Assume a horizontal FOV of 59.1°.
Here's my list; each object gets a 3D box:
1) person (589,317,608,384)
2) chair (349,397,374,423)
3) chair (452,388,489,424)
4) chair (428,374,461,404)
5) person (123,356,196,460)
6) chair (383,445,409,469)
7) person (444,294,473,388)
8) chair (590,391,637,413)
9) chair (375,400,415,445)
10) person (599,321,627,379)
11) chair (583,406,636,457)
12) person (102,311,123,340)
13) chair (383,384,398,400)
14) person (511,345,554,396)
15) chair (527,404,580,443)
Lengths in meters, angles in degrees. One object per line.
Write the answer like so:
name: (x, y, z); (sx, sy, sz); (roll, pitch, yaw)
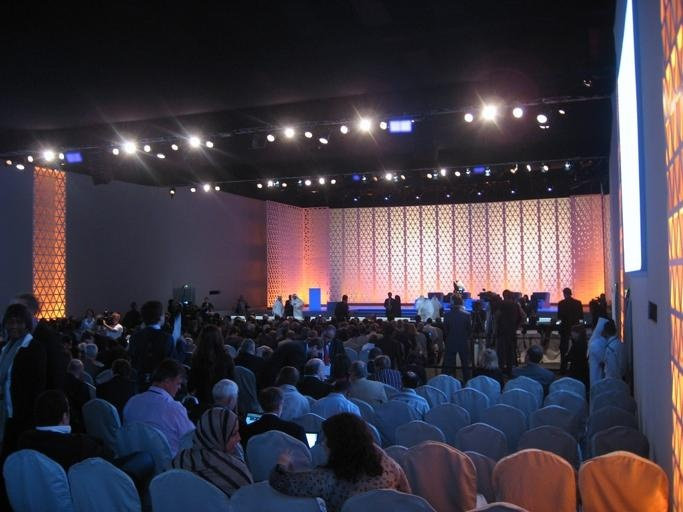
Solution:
person: (3.320, 1.241, 7.811); (0.225, 1.015, 0.232); (4, 31, 30)
chair: (0.205, 1.516, 5.934); (0.168, 0.259, 0.196); (0, -3, 28)
chair: (1.362, 1.541, 6.329); (0.286, 0.442, 0.337); (0, 0, 25)
chair: (1.158, 1.494, 6.773); (0.246, 0.379, 0.290); (1, 0, 15)
person: (-1.628, 1.432, 5.426); (0.572, 0.899, 0.485); (13, 11, 16)
chair: (0.430, 1.527, 4.614); (0.112, 0.132, 0.142); (-9, -18, 34)
person: (1.893, 1.359, 9.949); (0.441, 1.594, 0.432); (-3, 19, 4)
chair: (2.666, 1.448, 5.928); (0.271, 0.154, 0.395); (-2, -4, 31)
chair: (0.516, 1.572, 5.936); (0.325, 0.522, 0.394); (1, 9, 20)
person: (3.406, 1.191, 7.560); (0.262, 0.786, 0.779); (-2, -4, 24)
chair: (2.406, 1.575, 5.525); (0.399, 0.628, 0.531); (-5, -14, 27)
person: (-4.334, 1.313, 11.463); (0.359, 0.423, 1.081); (1, -4, -22)
chair: (0.541, 1.499, 6.613); (0.134, 0.163, 0.125); (1, -4, -6)
person: (2.379, 1.484, 7.524); (0.505, 0.771, 0.388); (4, 14, 9)
chair: (2.033, 1.535, 5.786); (0.427, 0.477, 0.442); (0, -2, 30)
